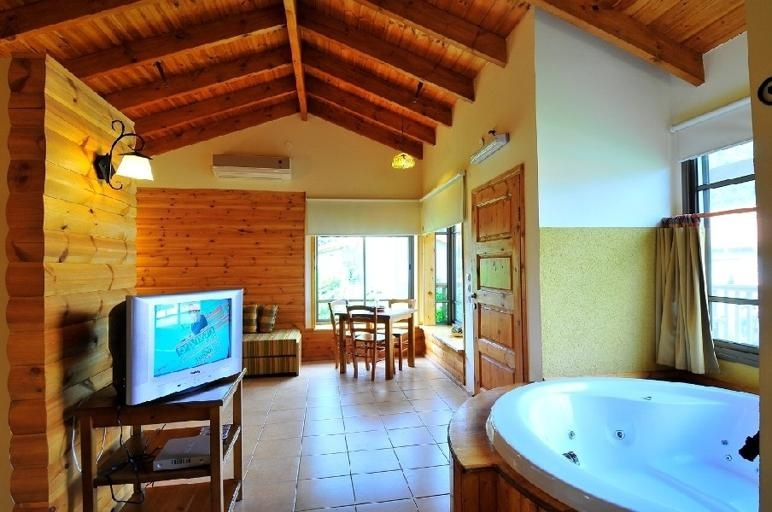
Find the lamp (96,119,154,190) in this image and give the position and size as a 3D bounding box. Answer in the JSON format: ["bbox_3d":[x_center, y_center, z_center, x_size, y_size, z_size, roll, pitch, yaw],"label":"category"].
[{"bbox_3d":[-2.093,-0.811,4.317,0.398,0.560,0.246,-1,-2,-12],"label":"lamp"}]

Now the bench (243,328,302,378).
[{"bbox_3d":[-1.564,1.340,7.350,0.542,0.367,0.752,0,0,-9],"label":"bench"}]

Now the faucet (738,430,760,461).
[{"bbox_3d":[2.774,1.459,4.100,0.105,0.198,0.103,2,7,42],"label":"faucet"}]

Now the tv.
[{"bbox_3d":[-1.575,0.601,4.268,0.712,1.011,1.252,-1,0,38],"label":"tv"}]

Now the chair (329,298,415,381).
[{"bbox_3d":[-0.306,1.118,7.630,1.025,1.256,1.067,0,2,29],"label":"chair"}]

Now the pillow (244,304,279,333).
[{"bbox_3d":[-1.838,0.904,7.797,0.399,0.392,0.157,7,-11,-10],"label":"pillow"}]
